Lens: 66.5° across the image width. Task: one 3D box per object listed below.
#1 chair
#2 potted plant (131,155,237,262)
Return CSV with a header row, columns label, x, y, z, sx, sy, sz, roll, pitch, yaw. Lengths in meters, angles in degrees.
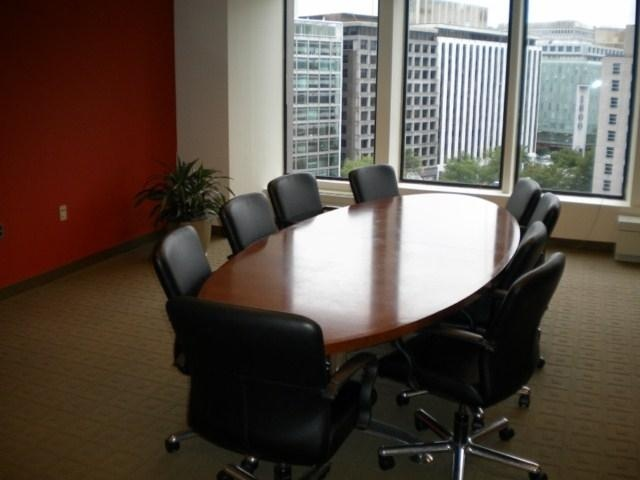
label,x,y,z,sx,sy,sz,roll,pitch,yaw
chair,0.368,0.298,3.218,2.080,1.221,2.755,9,22,28
potted plant,-1.442,-0.278,5.430,0.969,1.073,0.823,-4,-12,42
